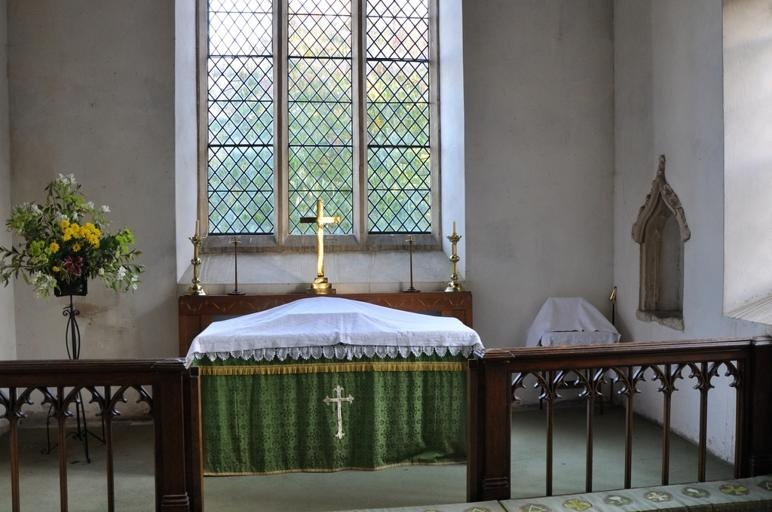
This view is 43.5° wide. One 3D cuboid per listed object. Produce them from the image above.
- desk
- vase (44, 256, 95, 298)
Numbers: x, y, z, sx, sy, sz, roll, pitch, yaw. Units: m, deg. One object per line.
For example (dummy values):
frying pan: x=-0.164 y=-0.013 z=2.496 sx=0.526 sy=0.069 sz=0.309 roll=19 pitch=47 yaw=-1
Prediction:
desk: x=2.304 y=1.393 z=11.674 sx=1.133 sy=1.102 sz=1.036 roll=0 pitch=-7 yaw=-1
vase: x=-3.440 y=0.214 z=10.516 sx=0.456 sy=0.478 sz=0.401 roll=1 pitch=0 yaw=-29
